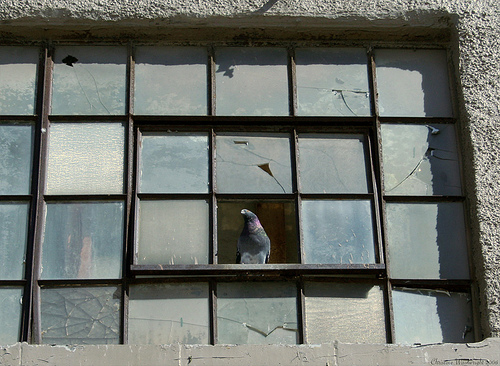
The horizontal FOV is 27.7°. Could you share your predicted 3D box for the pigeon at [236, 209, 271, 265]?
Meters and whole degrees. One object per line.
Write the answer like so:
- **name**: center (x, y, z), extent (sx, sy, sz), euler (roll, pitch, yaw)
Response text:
- **pigeon**: center (0.041, 0.558, 9.104), extent (0.312, 0.490, 0.478), euler (-1, -30, 5)
